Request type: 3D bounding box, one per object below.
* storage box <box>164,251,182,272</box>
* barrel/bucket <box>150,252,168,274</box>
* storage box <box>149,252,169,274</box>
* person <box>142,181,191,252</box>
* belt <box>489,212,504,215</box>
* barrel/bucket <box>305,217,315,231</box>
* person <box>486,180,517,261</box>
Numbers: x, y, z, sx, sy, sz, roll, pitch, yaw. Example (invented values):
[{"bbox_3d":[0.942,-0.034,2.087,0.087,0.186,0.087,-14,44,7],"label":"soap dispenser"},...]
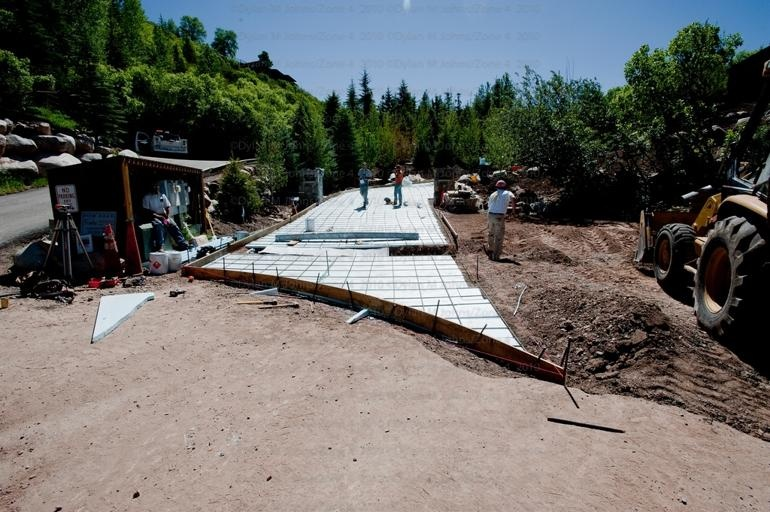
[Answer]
[{"bbox_3d":[-4.836,0.154,11.710,0.377,0.384,0.386,1,7,-1],"label":"storage box"},{"bbox_3d":[-5.093,0.182,11.487,0.426,0.499,0.437,1,2,0],"label":"barrel/bucket"},{"bbox_3d":[-5.127,0.174,11.648,0.448,0.513,0.435,-1,6,-34],"label":"storage box"},{"bbox_3d":[-5.549,-0.918,12.746,0.530,1.772,0.955,3,14,26],"label":"person"},{"bbox_3d":[2.838,-1.057,12.850,0.337,0.085,0.083,1,13,20],"label":"belt"},{"bbox_3d":[-2.331,-1.083,15.930,0.326,0.467,0.611,-2,9,-4],"label":"barrel/bucket"},{"bbox_3d":[2.884,-0.903,13.139,0.822,2.177,1.012,0,-1,3],"label":"person"}]
